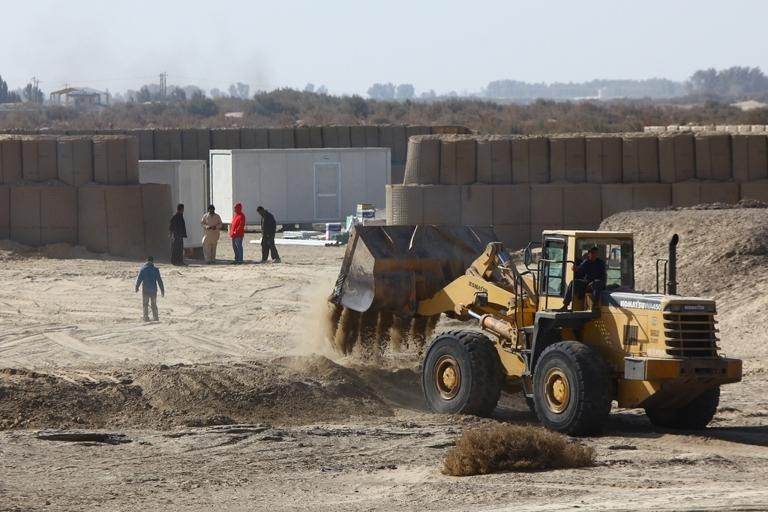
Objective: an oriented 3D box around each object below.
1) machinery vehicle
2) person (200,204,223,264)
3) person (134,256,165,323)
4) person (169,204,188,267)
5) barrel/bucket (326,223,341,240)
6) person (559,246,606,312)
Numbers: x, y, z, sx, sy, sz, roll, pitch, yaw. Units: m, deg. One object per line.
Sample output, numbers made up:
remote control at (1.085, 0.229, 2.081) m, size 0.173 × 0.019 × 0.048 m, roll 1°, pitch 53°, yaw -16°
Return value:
machinery vehicle at (3.008, 1.340, 25.454) m, size 6.958 × 3.506 × 3.642 m, roll 3°, pitch -1°, yaw 41°
person at (-4.746, -0.561, 36.635) m, size 0.539 × 1.539 × 1.512 m, roll -1°, pitch 3°, yaw -8°
person at (-5.270, 0.755, 29.998) m, size 0.583 × 1.421 × 0.854 m, roll -1°, pitch 3°, yaw -7°
person at (-5.544, -0.535, 35.786) m, size 0.413 × 1.603 × 1.700 m, roll -1°, pitch 3°, yaw -9°
barrel/bucket at (-1.570, -0.696, 41.683) m, size 0.473 × 0.528 × 0.269 m, roll 2°, pitch 9°, yaw 14°
person at (3.709, 0.455, 24.332) m, size 0.670 × 1.292 × 0.716 m, roll 12°, pitch 14°, yaw 15°
